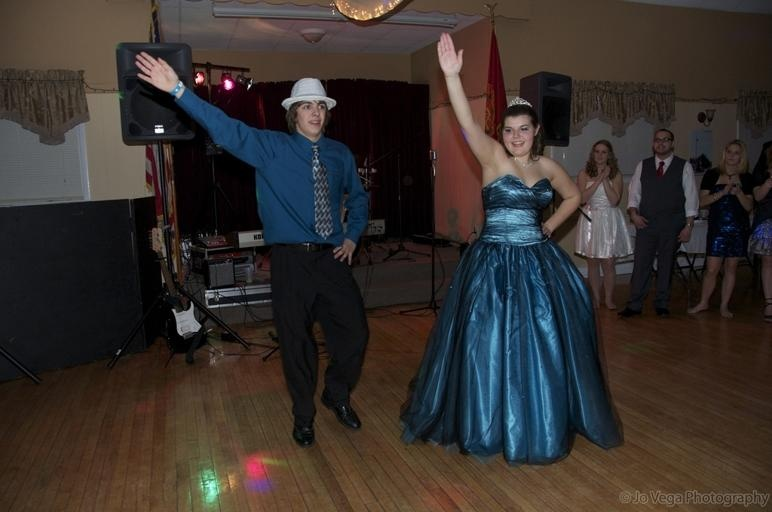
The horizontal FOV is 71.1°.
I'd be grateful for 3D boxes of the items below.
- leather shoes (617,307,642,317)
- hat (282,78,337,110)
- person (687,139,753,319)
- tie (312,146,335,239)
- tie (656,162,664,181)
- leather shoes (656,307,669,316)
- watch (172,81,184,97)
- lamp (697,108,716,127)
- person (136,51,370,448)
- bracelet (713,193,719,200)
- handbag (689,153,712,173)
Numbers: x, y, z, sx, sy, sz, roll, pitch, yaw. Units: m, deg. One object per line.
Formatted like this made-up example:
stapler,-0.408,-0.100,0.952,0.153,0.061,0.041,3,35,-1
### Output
leather shoes,2.978,0.684,6.553,0.275,0.146,0.113,1,3,0
hat,-0.617,-1.269,4.265,0.262,0.144,0.321,-2,-3,-16
person,4.011,-0.325,6.422,0.550,2.037,0.636,7,14,34
tie,-0.505,-0.490,4.162,0.178,0.716,0.171,10,16,43
tie,3.261,-1.033,6.392,0.088,0.170,0.073,2,13,16
leather shoes,3.357,0.668,6.537,0.128,0.152,0.083,1,-2,29
watch,-1.463,-1.179,3.852,0.080,0.038,0.103,-35,28,38
lamp,5.282,-2.293,8.916,0.213,0.381,0.317,-7,10,-31
person,-0.755,0.038,4.263,1.210,2.755,0.716,-1,12,1
bracelet,3.854,-0.694,6.297,0.064,0.076,0.018,-32,-14,30
handbag,5.245,-1.549,8.992,0.259,0.303,0.352,-8,5,-32
